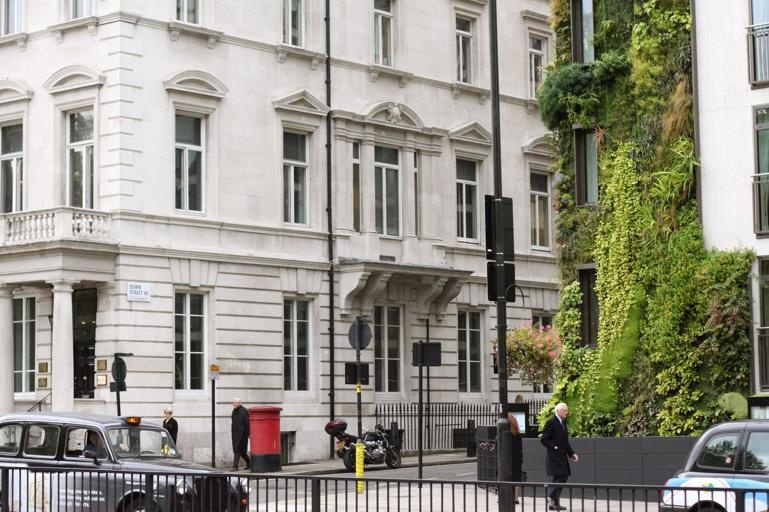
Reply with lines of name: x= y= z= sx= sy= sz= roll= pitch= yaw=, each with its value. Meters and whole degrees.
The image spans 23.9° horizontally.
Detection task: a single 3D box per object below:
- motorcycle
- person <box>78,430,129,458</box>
motorcycle: x=-0.546 y=6.154 z=59.016 sx=0.875 sy=1.938 sz=2.429 roll=-4 pitch=6 yaw=39
person: x=-6.908 y=4.752 z=45.500 sx=1.096 sy=0.566 sz=0.520 roll=-1 pitch=-3 yaw=5
